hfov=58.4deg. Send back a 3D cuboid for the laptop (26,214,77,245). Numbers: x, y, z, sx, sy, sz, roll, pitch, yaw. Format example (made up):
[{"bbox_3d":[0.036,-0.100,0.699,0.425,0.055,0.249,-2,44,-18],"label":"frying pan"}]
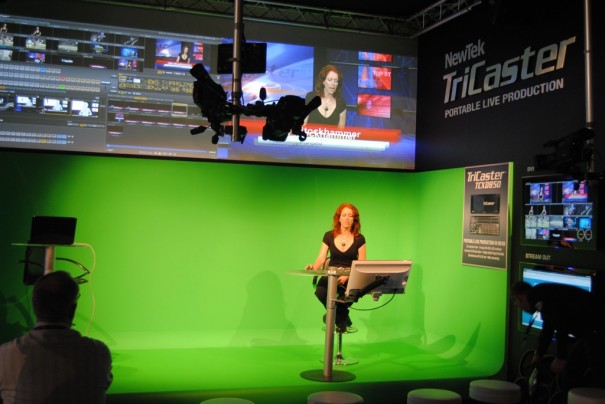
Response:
[{"bbox_3d":[-2.890,0.310,6.166,0.415,0.321,0.514,9,2,38],"label":"laptop"}]

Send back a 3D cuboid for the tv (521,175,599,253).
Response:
[{"bbox_3d":[2.773,0.114,5.883,0.083,0.731,0.759,16,-14,-38],"label":"tv"}]

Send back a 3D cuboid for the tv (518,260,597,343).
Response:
[{"bbox_3d":[2.716,1.043,5.700,0.104,0.839,0.958,8,-5,-24],"label":"tv"}]

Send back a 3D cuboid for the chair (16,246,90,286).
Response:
[{"bbox_3d":[-2.875,0.728,6.138,0.549,0.547,0.409,12,3,15],"label":"chair"}]
